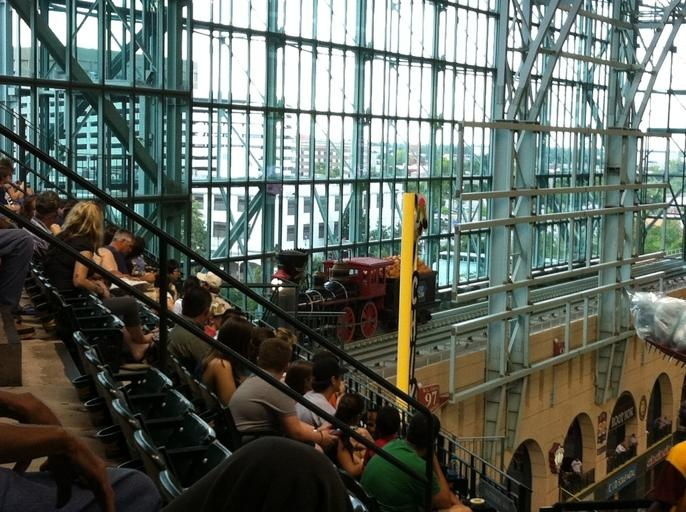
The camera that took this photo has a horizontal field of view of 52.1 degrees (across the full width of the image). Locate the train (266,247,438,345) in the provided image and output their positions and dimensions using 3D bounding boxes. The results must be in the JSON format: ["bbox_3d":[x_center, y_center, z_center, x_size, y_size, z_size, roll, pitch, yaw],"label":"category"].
[{"bbox_3d":[0.321,1.097,19.955,1.561,2.564,6.490,-1,1,35],"label":"train"}]

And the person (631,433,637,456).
[{"bbox_3d":[10.675,6.945,25.662,0.204,0.820,0.462,0,-2,32],"label":"person"}]

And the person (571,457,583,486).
[{"bbox_3d":[7.492,6.866,22.437,0.307,0.713,0.847,0,-1,24],"label":"person"}]
